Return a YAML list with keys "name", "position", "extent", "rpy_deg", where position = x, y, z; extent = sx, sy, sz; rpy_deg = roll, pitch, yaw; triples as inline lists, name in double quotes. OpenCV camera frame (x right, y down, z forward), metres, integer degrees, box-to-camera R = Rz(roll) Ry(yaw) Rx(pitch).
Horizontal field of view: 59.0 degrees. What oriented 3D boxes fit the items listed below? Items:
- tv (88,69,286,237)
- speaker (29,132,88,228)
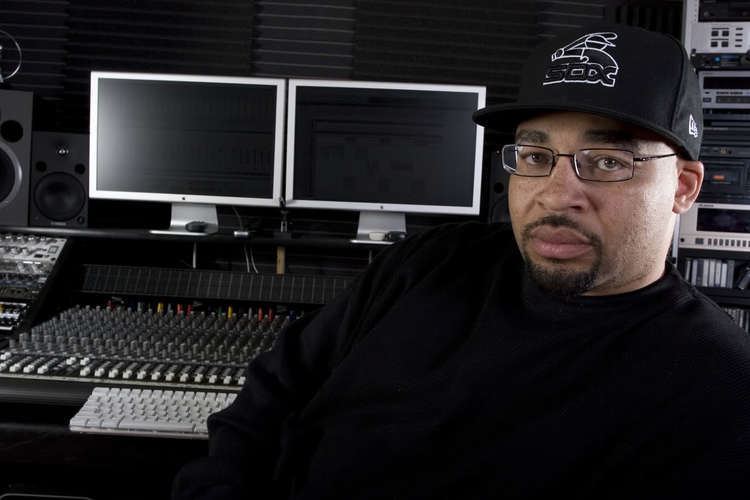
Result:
- name: "tv"
  position: [-0.921, -0.477, 3.206]
  extent: [0.902, 0.668, 0.260]
  rpy_deg: [2, 5, -1]
- name: "speaker"
  position: [-1.474, -0.333, 3.088]
  extent: [0.247, 0.428, 0.123]
  rpy_deg: [-1, 7, -26]
